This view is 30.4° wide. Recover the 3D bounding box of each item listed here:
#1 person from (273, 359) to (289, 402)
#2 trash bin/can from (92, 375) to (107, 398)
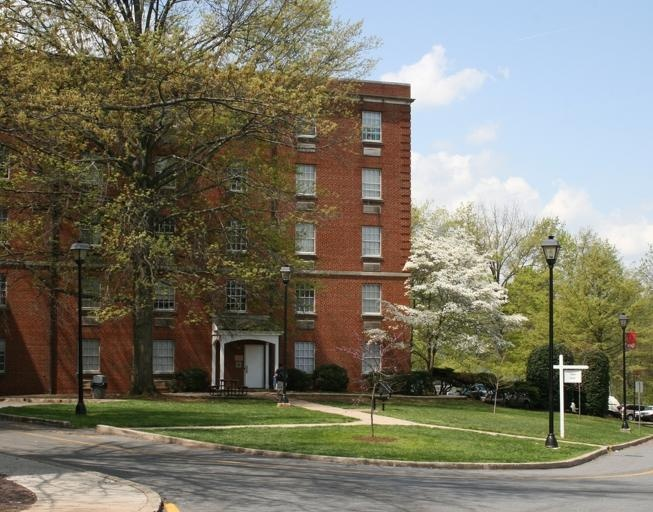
[{"bbox_3d":[-2.236,6.096,58.893,0.730,1.821,0.595,-9,8,-24],"label":"person"},{"bbox_3d":[-10.473,5.903,55.082,0.617,1.129,1.126,2,-8,-15],"label":"trash bin/can"}]
